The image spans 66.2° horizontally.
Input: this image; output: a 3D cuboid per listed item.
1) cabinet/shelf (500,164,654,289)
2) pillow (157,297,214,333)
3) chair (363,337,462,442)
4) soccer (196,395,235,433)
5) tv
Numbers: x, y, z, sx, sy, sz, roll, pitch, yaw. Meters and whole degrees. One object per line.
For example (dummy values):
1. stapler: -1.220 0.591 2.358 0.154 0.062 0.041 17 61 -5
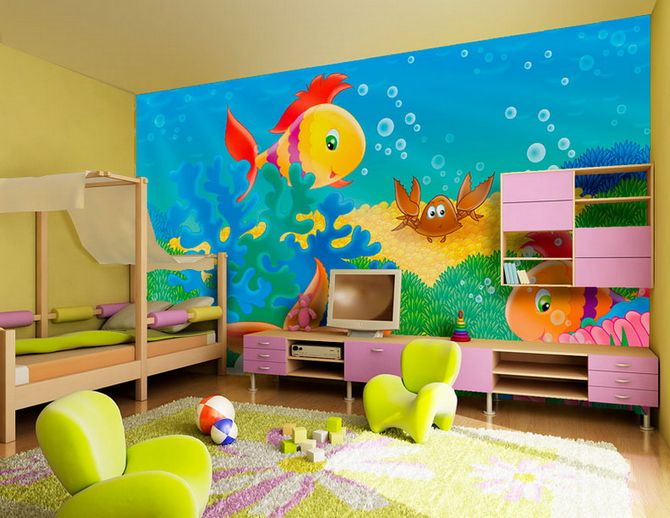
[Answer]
1. cabinet/shelf: 2.090 -0.287 4.348 1.046 0.932 0.346 0 -1 23
2. pillow: -1.587 0.534 5.583 0.385 0.097 0.404 -19 -6 -33
3. chair: 0.579 0.972 3.890 0.683 0.723 0.722 1 -4 13
4. soccer: -0.910 1.119 3.824 0.253 0.279 0.275 -5 -30 22
5. tv: 0.306 0.433 4.938 0.590 0.556 0.231 -1 -8 16
